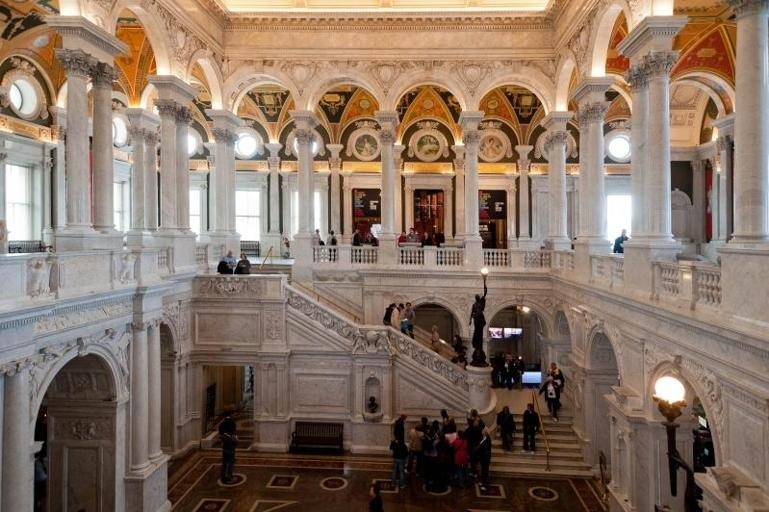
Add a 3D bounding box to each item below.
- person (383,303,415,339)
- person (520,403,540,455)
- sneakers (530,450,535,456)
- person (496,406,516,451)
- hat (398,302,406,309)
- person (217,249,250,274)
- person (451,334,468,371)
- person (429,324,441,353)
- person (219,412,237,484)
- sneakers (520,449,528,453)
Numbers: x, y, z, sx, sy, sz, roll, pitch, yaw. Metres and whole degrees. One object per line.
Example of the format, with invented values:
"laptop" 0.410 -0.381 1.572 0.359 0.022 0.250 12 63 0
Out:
"person" 0.538 2.348 23.050 1.194 2.200 1.189 0 -4 6
"person" 4.628 5.444 20.133 0.448 1.661 0.363 -1 11 14
"sneakers" 4.686 6.241 20.100 0.185 0.138 0.139 -4 11 1
"person" 3.903 5.458 20.461 0.577 1.400 0.808 -2 11 9
"hat" 0.591 1.846 23.192 0.164 0.167 0.189 1 -2 8
"person" -5.339 0.353 22.280 0.909 0.945 0.355 12 -15 -10
"person" 2.687 3.420 22.876 0.519 0.838 1.380 -3 11 7
"person" 1.907 3.117 23.636 0.407 1.019 1.161 -3 11 5
"person" -4.823 5.786 19.362 0.569 1.849 1.171 -7 11 -14
"sneakers" 4.457 6.234 20.230 0.258 0.161 0.086 -4 -8 8
